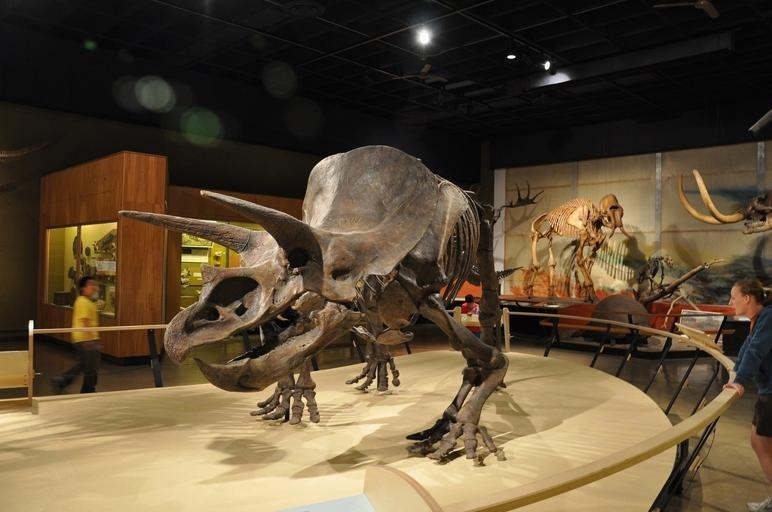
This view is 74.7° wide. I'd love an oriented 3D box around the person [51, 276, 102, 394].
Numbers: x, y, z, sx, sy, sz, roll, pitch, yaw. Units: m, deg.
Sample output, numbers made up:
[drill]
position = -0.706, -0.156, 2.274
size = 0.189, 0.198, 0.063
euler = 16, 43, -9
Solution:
[person]
position = -4.030, 1.154, 6.586
size = 0.487, 1.663, 1.594
euler = -1, 6, -32
